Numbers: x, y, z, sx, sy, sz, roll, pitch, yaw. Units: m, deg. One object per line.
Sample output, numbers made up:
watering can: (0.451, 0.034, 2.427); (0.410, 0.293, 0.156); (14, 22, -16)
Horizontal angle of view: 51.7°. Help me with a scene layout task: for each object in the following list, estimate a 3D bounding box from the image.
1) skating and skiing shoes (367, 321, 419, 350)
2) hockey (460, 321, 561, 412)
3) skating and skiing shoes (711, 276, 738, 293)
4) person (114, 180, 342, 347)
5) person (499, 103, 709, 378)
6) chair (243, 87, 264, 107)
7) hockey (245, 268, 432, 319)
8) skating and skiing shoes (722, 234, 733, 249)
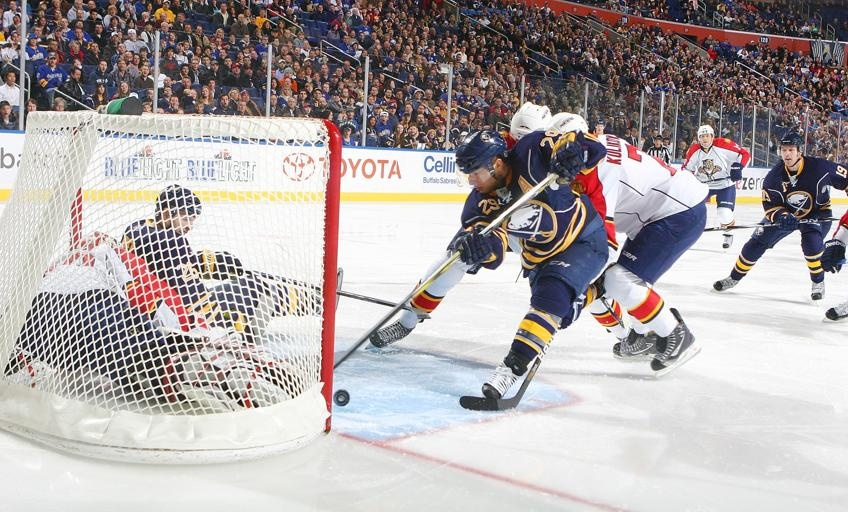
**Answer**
skating and skiing shoes: (-0.203, 0.460, 5.680); (0.392, 0.113, 0.161); (-12, -29, -44)
hockey: (0.443, 0.617, 4.959); (0.325, 0.425, 0.338); (0, 0, 35)
skating and skiing shoes: (2.620, 0.233, 7.675); (0.299, 0.095, 0.114); (-8, -15, -39)
person: (-1.005, 0.091, 4.750); (0.960, 0.996, 0.709); (3, 0, 41)
person: (1.246, -0.111, 5.809); (1.263, 1.626, 0.713); (-4, -2, 18)
chair: (-2.322, -2.125, 11.732); (0.220, 0.268, 0.229); (8, 12, 30)
hockey: (-0.469, 0.291, 4.709); (0.946, 0.174, 0.371); (16, 1, -3)
skating and skiing shoes: (3.563, -0.179, 10.305); (0.139, 0.132, 0.258); (6, 20, 18)
